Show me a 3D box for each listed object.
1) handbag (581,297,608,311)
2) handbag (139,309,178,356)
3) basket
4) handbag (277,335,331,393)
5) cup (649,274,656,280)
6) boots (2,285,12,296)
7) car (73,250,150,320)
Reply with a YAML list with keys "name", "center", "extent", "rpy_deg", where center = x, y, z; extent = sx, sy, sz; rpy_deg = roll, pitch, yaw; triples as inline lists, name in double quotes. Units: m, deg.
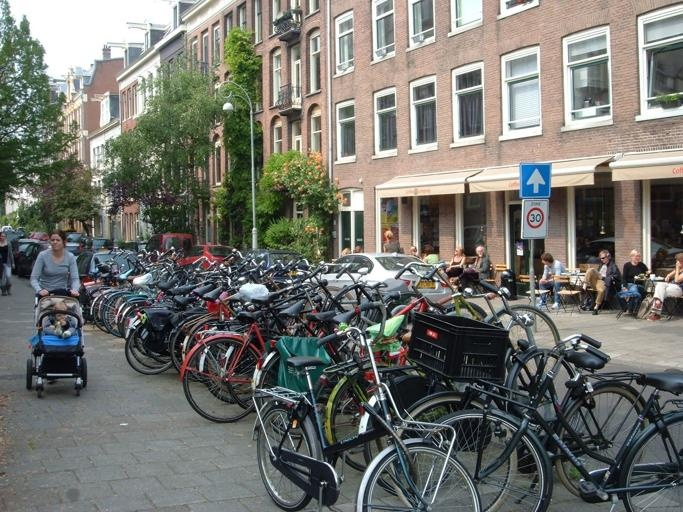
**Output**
- name: "handbag"
  center: [6.123, 1.178, 17.652]
  extent: [0.737, 0.302, 0.260]
  rpy_deg: [-5, 5, 8]
- name: "handbag"
  center: [-2.625, 1.089, 10.561]
  extent: [0.641, 0.725, 0.581]
  rpy_deg: [0, 6, -21]
- name: "basket"
  center: [0.935, 0.688, 5.827]
  extent: [0.621, 0.375, 0.606]
  rpy_deg: [2, 14, -41]
- name: "handbag"
  center: [-0.356, 0.945, 6.367]
  extent: [0.500, 0.463, 0.898]
  rpy_deg: [0, 0, -2]
- name: "cup"
  center: [6.932, 0.480, 16.178]
  extent: [0.072, 0.089, 0.126]
  rpy_deg: [-4, 4, 9]
- name: "boots"
  center: [-11.455, 1.176, 24.507]
  extent: [0.301, 0.383, 0.246]
  rpy_deg: [1, -17, -30]
- name: "car"
  center: [-5.842, 0.744, 17.737]
  extent: [2.465, 1.492, 1.553]
  rpy_deg: [-4, 5, -15]
